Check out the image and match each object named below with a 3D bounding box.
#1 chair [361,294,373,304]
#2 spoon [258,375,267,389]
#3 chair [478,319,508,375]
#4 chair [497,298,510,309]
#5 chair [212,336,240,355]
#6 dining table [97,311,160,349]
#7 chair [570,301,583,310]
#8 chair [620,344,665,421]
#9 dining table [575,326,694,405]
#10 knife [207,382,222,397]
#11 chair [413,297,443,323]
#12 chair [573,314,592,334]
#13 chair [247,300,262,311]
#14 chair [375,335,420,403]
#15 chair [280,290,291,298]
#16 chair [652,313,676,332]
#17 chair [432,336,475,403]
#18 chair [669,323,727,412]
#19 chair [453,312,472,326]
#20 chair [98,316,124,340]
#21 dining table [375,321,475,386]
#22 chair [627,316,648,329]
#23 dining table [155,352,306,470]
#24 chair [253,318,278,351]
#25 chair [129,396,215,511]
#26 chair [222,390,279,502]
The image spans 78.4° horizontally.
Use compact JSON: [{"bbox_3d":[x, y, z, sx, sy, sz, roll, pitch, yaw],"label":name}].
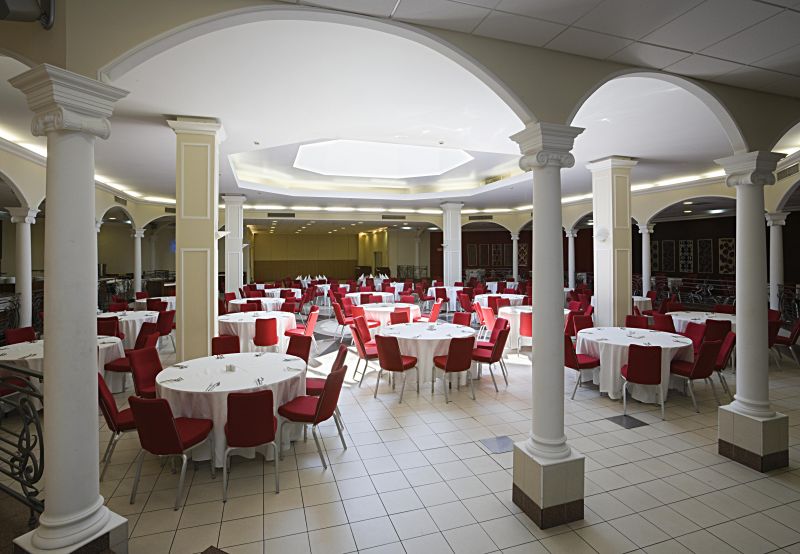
[{"bbox_3d":[-0.896,0.554,12.841,0.287,0.235,0.463,-2,3,11],"label":"chair"},{"bbox_3d":[-1.542,1.165,5.433,0.078,0.129,0.111,-9,-1,9],"label":"spoon"},{"bbox_3d":[1.456,1.163,7.802,0.528,0.869,1.166,-2,3,13],"label":"chair"},{"bbox_3d":[2.367,0.602,11.255,0.190,0.272,0.222,0,-3,-5],"label":"chair"},{"bbox_3d":[-2.422,0.919,6.887,0.279,0.405,0.313,0,2,-28],"label":"chair"},{"bbox_3d":[-4.848,0.851,8.924,0.903,0.595,0.900,1,3,0],"label":"dining table"},{"bbox_3d":[3.709,0.605,10.353,0.203,0.271,0.221,0,-3,8],"label":"chair"},{"bbox_3d":[3.273,1.368,6.645,0.520,1.011,0.726,-1,3,27],"label":"chair"},{"bbox_3d":[3.529,1.326,7.384,1.380,0.772,1.380,-2,3,-33],"label":"dining table"},{"bbox_3d":[-2.013,1.213,5.309,0.144,0.098,0.268,-3,3,-15],"label":"knife"},{"bbox_3d":[0.598,0.748,10.347,0.612,0.874,0.601,3,-1,7],"label":"chair"},{"bbox_3d":[3.250,0.845,8.777,0.288,0.511,0.289,0,-2,-12],"label":"chair"},{"bbox_3d":[-3.225,0.637,10.908,0.220,0.301,0.259,1,3,-1],"label":"chair"},{"bbox_3d":[-0.069,1.303,7.405,0.705,0.970,0.960,-3,3,1],"label":"chair"},{"bbox_3d":[-3.056,0.446,13.107,0.195,0.248,0.203,2,-3,-37],"label":"chair"},{"bbox_3d":[4.464,0.774,8.348,0.338,0.486,0.291,5,-3,-33],"label":"chair"},{"bbox_3d":[0.799,1.319,7.266,0.619,0.950,0.785,-3,3,-4],"label":"chair"},{"bbox_3d":[4.391,1.266,7.176,0.638,1.063,1.707,-1,3,34],"label":"chair"},{"bbox_3d":[1.132,0.767,8.900,0.233,0.329,0.272,-1,-1,9],"label":"chair"},{"bbox_3d":[-4.615,0.826,7.995,0.327,0.466,0.374,0,6,-20],"label":"chair"},{"bbox_3d":[0.476,1.296,7.758,0.950,0.576,0.986,-14,-11,41],"label":"dining table"},{"bbox_3d":[4.063,0.772,8.448,0.237,0.336,0.276,-3,-4,20],"label":"chair"},{"bbox_3d":[-2.033,1.257,5.634,1.235,0.674,1.270,9,11,44],"label":"dining table"},{"bbox_3d":[-2.378,1.035,8.684,0.404,0.625,0.441,-3,3,-15],"label":"chair"},{"bbox_3d":[-2.377,1.724,5.060,0.676,1.168,0.749,0,4,38],"label":"chair"},{"bbox_3d":[-1.593,1.694,5.182,0.564,1.119,0.665,-4,3,-18],"label":"chair"}]
